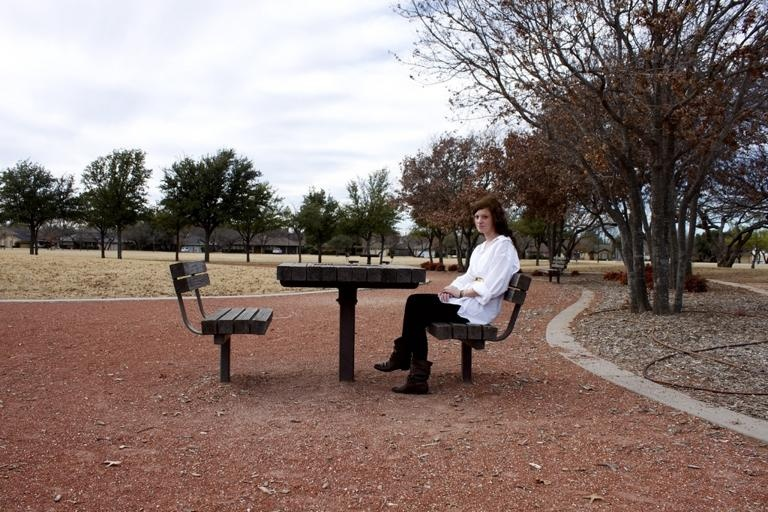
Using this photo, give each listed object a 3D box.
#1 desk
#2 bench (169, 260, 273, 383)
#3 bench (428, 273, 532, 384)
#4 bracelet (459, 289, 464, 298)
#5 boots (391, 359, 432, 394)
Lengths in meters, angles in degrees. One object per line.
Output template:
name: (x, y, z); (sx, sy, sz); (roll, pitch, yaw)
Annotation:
desk: (-0.495, 0.981, 8.725); (1.906, 1.671, 1.481); (0, 0, -5)
bench: (-2.265, 0.883, 8.825); (1.375, 1.555, 1.776); (0, 2, -13)
bench: (1.297, 1.026, 8.809); (1.172, 1.518, 1.847); (3, -1, -1)
bracelet: (1.052, 0.519, 8.200); (0.077, 0.077, 0.077); (6, 15, 4)
boots: (0.379, 1.677, 8.195); (0.576, 0.454, 0.234); (-6, -20, 21)
